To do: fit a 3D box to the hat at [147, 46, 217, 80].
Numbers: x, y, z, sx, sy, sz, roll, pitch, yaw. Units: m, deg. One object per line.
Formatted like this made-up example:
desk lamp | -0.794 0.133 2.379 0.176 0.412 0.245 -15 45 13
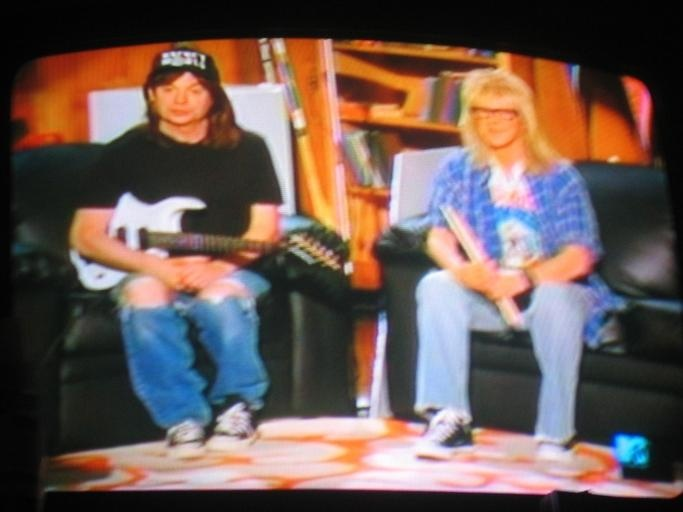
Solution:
hat | -0.629 -0.777 3.421 0.249 0.098 0.324 -6 22 -22
